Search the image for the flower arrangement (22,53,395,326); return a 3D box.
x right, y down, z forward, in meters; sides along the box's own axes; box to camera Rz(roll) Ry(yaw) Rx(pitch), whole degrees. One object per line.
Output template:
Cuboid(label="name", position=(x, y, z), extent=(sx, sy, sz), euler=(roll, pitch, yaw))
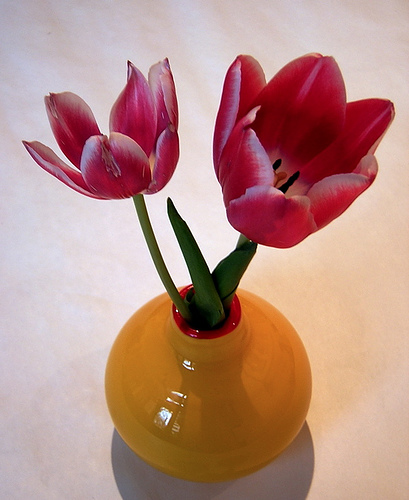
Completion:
Cuboid(label="flower arrangement", position=(-0.003, -0.010, 0.423), extent=(0.246, 0.274, 0.164), euler=(5, 37, 7))

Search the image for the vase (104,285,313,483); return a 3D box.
Cuboid(label="vase", position=(0.007, 0.130, 0.529), extent=(0.198, 0.204, 0.206), euler=(-5, 46, -3))
